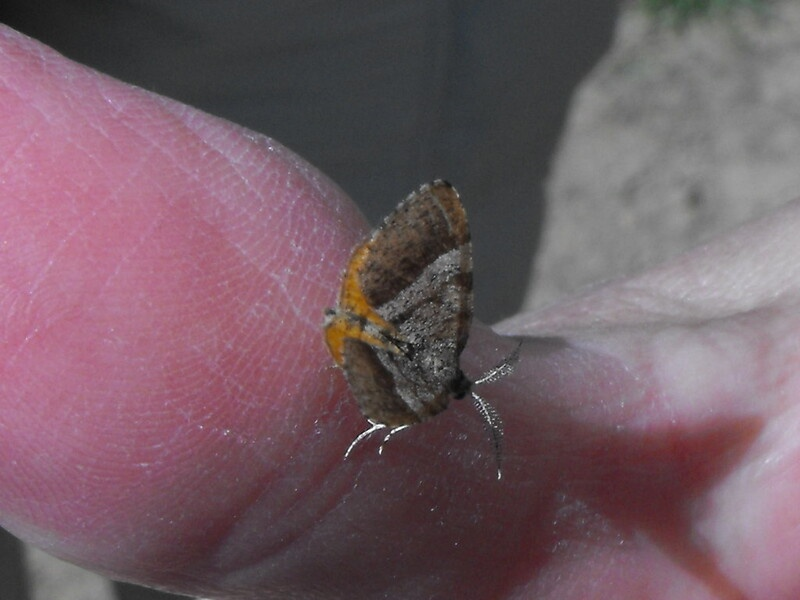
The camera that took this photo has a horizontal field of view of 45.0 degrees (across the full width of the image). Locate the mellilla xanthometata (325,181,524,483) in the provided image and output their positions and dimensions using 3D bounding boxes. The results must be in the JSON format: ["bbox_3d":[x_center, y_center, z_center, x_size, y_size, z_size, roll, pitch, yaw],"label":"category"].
[{"bbox_3d":[0.013,0.028,0.915,0.163,0.182,0.137,-22,43,-8],"label":"mellilla xanthometata"}]
